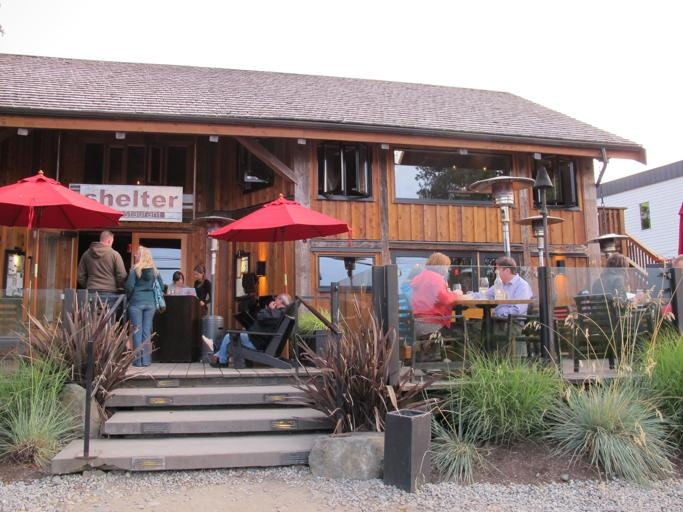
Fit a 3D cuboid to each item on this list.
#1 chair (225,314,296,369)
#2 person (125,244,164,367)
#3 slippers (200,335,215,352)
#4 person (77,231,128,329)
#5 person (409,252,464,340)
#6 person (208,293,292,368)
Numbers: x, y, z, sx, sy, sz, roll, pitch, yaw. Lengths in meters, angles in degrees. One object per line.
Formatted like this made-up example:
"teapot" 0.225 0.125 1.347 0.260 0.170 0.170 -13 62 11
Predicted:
"chair" -1.248 1.338 9.045 0.971 0.823 0.724 2 -9 -5
"person" -3.041 0.758 9.062 0.599 1.879 1.593 1 -4 -20
"slippers" -2.129 1.396 9.334 0.170 0.256 0.076 -5 0 -40
"person" -3.780 0.261 9.226 0.738 1.425 1.862 1 -4 -24
"person" 1.290 0.509 7.930 0.673 1.112 0.266 -1 -4 6
"person" -1.186 1.256 9.213 1.143 1.241 0.882 4 -9 18
